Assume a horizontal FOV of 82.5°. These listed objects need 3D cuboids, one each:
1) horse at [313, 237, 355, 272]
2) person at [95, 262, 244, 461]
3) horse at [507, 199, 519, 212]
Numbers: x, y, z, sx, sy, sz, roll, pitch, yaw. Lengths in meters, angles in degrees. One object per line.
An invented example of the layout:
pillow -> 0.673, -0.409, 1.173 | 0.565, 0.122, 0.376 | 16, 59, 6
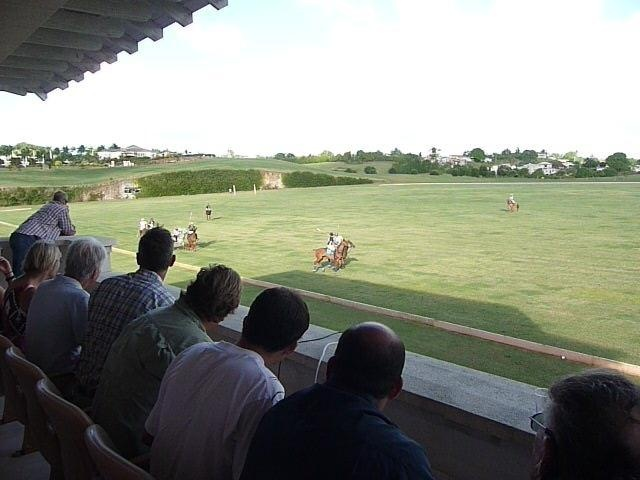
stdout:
horse -> 0.584, 0.523, 16.751 | 1.567, 1.651, 1.874 | 0, 10, 0
person -> -1.037, 1.077, 2.870 | 1.122, 1.707, 0.769 | 8, 14, -31
horse -> 19.727, -3.576, 37.096 | 0.987, 1.364, 2.195 | 5, 11, 24
